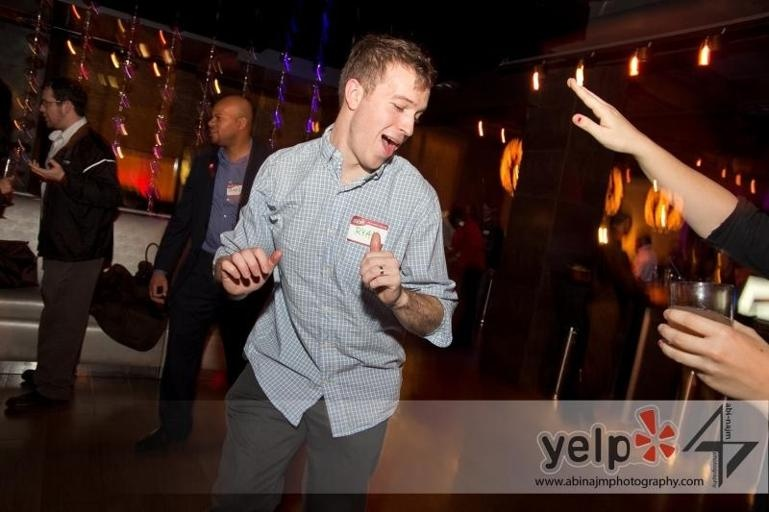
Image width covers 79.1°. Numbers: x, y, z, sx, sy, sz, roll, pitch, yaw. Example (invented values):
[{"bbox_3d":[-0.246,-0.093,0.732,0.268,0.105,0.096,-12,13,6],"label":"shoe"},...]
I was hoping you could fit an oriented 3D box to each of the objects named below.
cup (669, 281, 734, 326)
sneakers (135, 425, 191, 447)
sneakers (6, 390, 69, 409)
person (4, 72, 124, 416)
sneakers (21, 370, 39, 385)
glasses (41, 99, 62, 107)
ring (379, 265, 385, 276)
[{"bbox_3d":[1.241,0.167,1.817,0.192,0.133,0.188,3,-1,0],"label":"cup"},{"bbox_3d":[-1.641,1.352,3.562,0.434,0.163,0.143,1,-6,-16],"label":"sneakers"},{"bbox_3d":[-2.763,1.168,3.796,0.451,0.156,0.155,9,-10,-26],"label":"sneakers"},{"bbox_3d":[-2.665,-0.125,3.947,0.633,2.676,0.769,3,11,-42],"label":"person"},{"bbox_3d":[-3.098,1.060,4.080,0.116,0.052,0.149,0,44,-8],"label":"sneakers"},{"bbox_3d":[-2.792,-1.289,3.915,0.085,0.025,0.083,2,6,-2],"label":"glasses"},{"bbox_3d":[-0.014,0.056,1.876,0.019,0.040,0.019,10,8,-2],"label":"ring"}]
